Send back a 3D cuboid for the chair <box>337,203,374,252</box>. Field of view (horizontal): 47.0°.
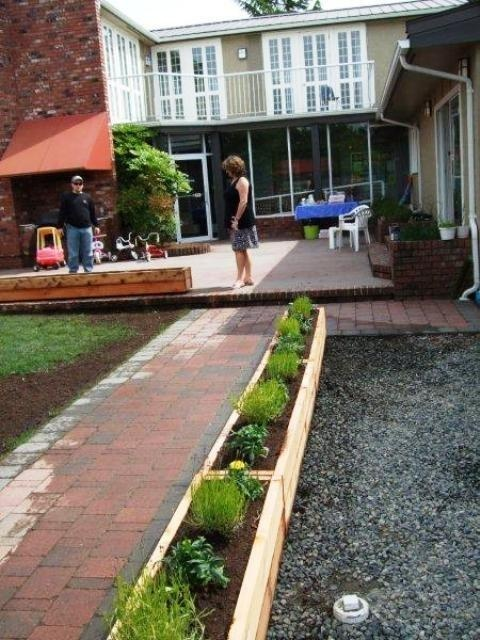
[{"bbox_3d":[2.680,-2.164,12.925,0.671,0.899,0.741,4,15,32],"label":"chair"}]

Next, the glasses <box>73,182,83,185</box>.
[{"bbox_3d":[-2.964,-2.469,10.044,0.086,0.055,0.166,5,13,32],"label":"glasses"}]

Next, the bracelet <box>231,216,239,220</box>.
[{"bbox_3d":[-0.076,-1.422,7.783,0.070,0.078,0.136,-9,13,-32],"label":"bracelet"}]

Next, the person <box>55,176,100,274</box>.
[{"bbox_3d":[-3.023,-1.768,10.277,0.600,1.757,0.751,0,12,13],"label":"person"}]

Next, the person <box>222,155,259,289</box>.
[{"bbox_3d":[0.015,-1.438,8.135,0.437,1.932,1.047,-2,11,1],"label":"person"}]

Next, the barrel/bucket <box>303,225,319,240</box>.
[{"bbox_3d":[2.243,-2.761,17.491,0.473,0.349,0.481,-1,4,0],"label":"barrel/bucket"}]
